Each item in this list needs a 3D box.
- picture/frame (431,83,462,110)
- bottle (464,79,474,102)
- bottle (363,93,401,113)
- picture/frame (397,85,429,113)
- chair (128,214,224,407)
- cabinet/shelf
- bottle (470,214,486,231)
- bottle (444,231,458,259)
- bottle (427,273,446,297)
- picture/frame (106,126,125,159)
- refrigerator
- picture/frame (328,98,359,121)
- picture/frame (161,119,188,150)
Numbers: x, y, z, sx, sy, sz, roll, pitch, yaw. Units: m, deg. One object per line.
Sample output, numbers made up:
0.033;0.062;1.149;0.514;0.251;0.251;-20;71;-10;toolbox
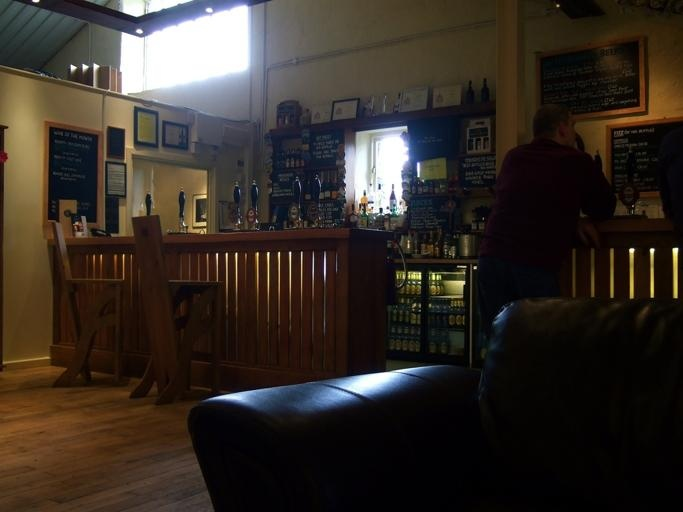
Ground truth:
1.200;-1.796;6.341;0.352;0.346;0.118;-1;-7;30;picture/frame
1.418;-1.821;6.210;0.121;0.326;0.311;-2;2;13;bottle
0.492;-1.837;6.798;0.571;0.190;0.180;-2;3;36;bottle
0.847;-1.816;6.531;0.375;0.401;0.051;0;-16;25;picture/frame
-1.177;0.357;3.979;0.624;1.277;0.640;-3;-4;3;chair
-0.418;-0.906;7.274;0.968;1.761;0.315;-4;39;-6;cabinet/shelf
1.463;-0.345;5.983;0.111;0.202;0.208;-1;4;-43;bottle
1.185;-0.124;6.133;0.159;0.180;0.314;-2;2;16;bottle
1.038;0.317;6.155;0.202;0.281;0.211;0;3;0;bottle
-2.469;-1.245;6.167;0.227;0.331;0.035;7;11;6;picture/frame
1.019;0.563;6.297;0.370;1.112;1.083;8;-11;-40;refrigerator
0.039;-1.820;6.990;0.332;0.309;0.034;2;-15;30;picture/frame
-2.048;-1.476;6.811;0.040;0.343;0.386;-2;-1;33;picture/frame
